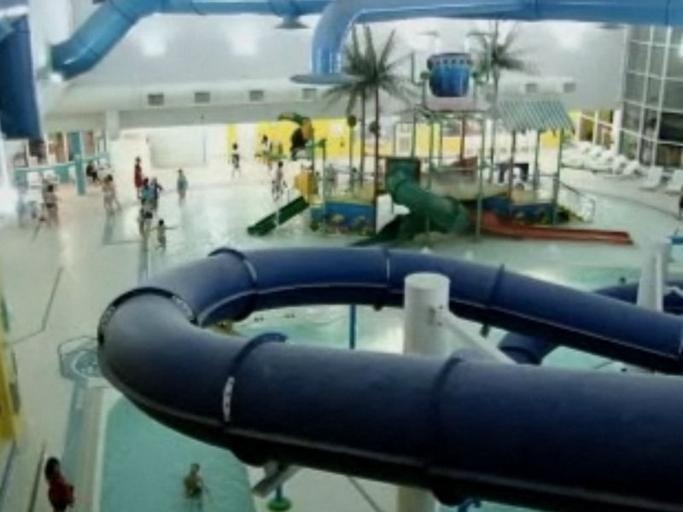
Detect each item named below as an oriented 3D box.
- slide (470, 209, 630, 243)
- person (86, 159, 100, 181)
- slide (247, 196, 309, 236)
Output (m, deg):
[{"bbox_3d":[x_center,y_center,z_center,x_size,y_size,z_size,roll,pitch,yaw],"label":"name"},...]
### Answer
[{"bbox_3d":[5.452,-0.806,14.015,2.990,0.790,0.439,5,-32,-5],"label":"slide"},{"bbox_3d":[-7.167,-2.447,15.032,0.335,0.587,0.983,1,9,-25],"label":"person"},{"bbox_3d":[-1.751,-1.115,14.678,1.692,0.506,0.302,-35,-24,-8],"label":"slide"}]
